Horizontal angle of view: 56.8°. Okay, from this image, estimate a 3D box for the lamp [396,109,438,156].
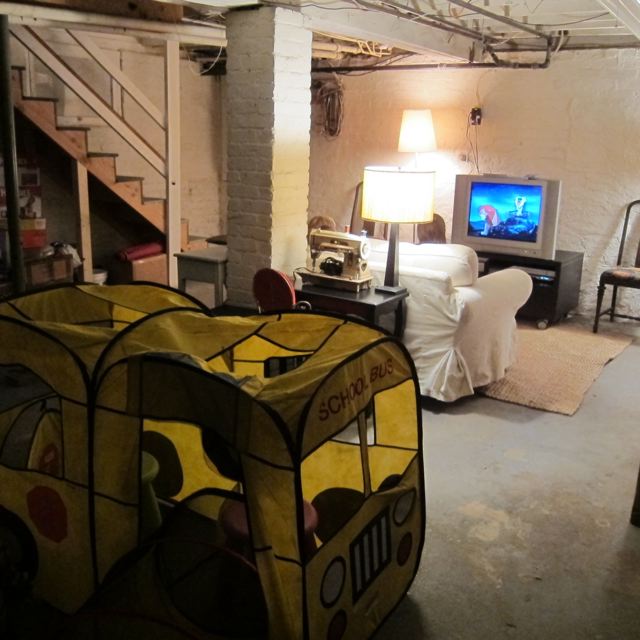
[{"bbox_3d":[0.955,-1.980,6.218,0.384,0.464,0.412,-9,22,-16],"label":"lamp"}]

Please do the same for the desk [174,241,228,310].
[{"bbox_3d":[-0.785,-0.288,4.269,0.455,0.407,0.481,3,17,-1],"label":"desk"}]

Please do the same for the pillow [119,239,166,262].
[{"bbox_3d":[-1.658,-0.646,5.521,0.335,0.114,0.204,-17,49,-32],"label":"pillow"}]

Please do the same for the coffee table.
[{"bbox_3d":[0.199,0.137,3.553,0.546,0.520,0.322,16,24,39],"label":"coffee table"}]

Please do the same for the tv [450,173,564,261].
[{"bbox_3d":[1.677,-0.924,5.274,0.772,0.704,0.412,14,21,36],"label":"tv"}]

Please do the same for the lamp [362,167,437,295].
[{"bbox_3d":[0.443,-0.549,3.515,0.402,0.706,0.314,1,11,-12],"label":"lamp"}]

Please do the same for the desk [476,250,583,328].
[{"bbox_3d":[1.818,-0.324,5.493,0.867,0.628,0.493,11,17,40],"label":"desk"}]

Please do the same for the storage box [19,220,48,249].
[{"bbox_3d":[-2.085,-0.630,4.280,0.159,0.215,0.170,-3,13,-31],"label":"storage box"}]

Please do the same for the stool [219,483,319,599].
[{"bbox_3d":[-0.149,0.594,1.759,0.249,0.266,0.269,1,13,22],"label":"stool"}]
